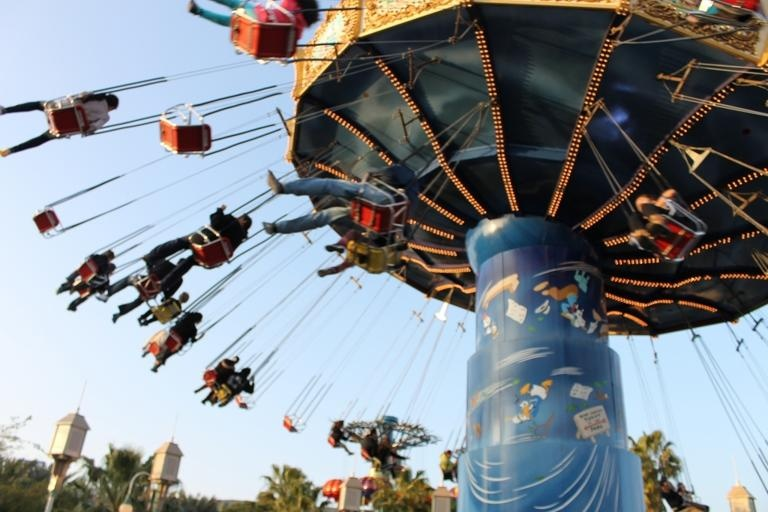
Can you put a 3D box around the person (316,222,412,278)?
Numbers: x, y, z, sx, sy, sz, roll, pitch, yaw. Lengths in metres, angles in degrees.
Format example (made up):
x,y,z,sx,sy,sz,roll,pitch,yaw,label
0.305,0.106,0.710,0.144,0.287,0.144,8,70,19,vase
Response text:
x,y,z,sx,sy,sz,roll,pitch,yaw,label
-0.775,-0.122,11.103,1.861,1.159,0.697,-6,-66,-37,person

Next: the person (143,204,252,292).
x,y,z,sx,sy,sz,roll,pitch,yaw,label
-4.288,-0.255,11.429,2.546,0.812,1.519,-24,-20,-8,person
